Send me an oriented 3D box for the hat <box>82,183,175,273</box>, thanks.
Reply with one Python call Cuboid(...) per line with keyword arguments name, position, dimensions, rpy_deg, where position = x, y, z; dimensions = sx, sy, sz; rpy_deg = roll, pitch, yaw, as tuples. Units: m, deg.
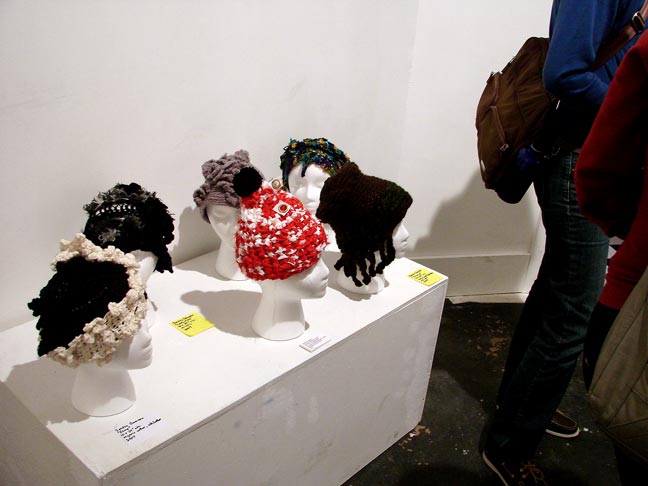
Cuboid(name="hat", position=(-0.692, -0.085, 1.750), dimensions=(0.306, 0.313, 0.252), rpy_deg=(-18, 28, -18))
